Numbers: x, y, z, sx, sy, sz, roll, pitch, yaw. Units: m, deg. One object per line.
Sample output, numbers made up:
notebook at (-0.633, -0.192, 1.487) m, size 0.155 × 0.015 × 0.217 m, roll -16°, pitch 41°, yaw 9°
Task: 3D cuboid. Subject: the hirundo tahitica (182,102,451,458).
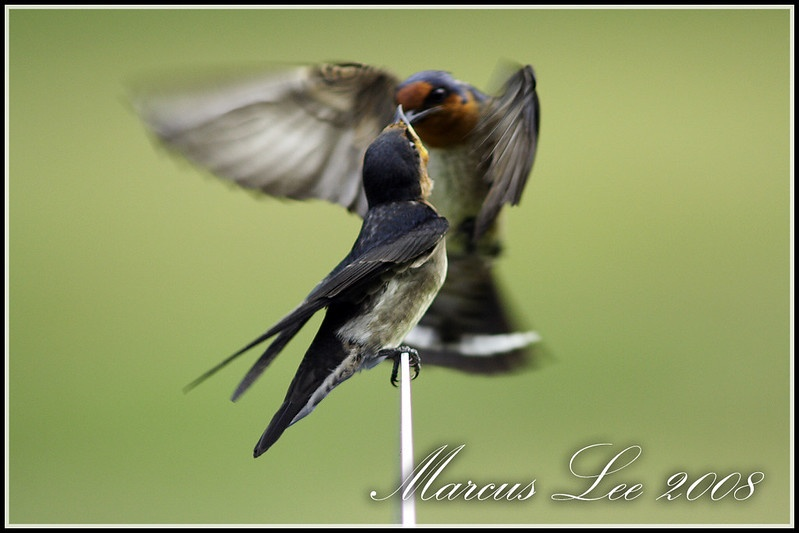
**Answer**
hirundo tahitica at (-0.228, 0.092, 3.343) m, size 1.245 × 0.346 × 0.743 m, roll -29°, pitch -85°, yaw 0°
